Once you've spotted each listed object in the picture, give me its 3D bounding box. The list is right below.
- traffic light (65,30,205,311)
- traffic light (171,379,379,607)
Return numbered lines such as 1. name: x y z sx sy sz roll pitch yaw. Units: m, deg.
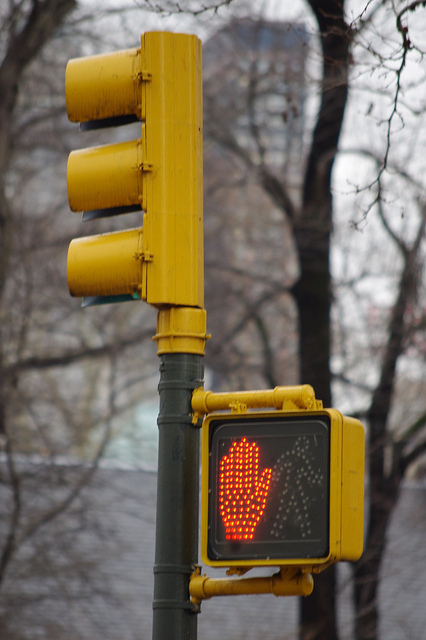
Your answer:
1. traffic light: -0.484 -0.872 13.562 0.838 0.758 1.611 -1 70 2
2. traffic light: 0.301 1.099 13.056 0.914 0.490 1.321 0 62 0
